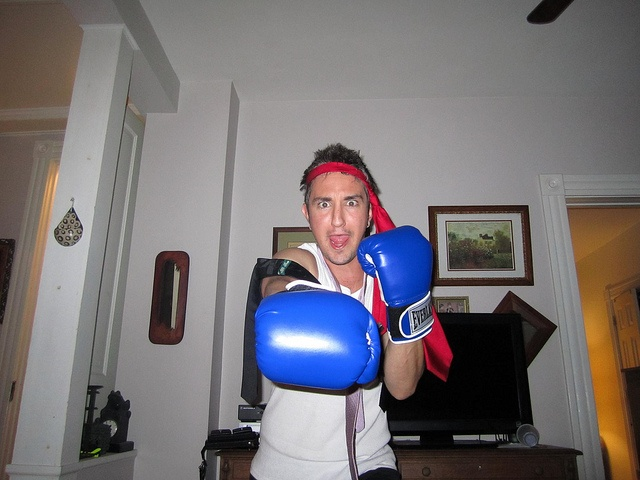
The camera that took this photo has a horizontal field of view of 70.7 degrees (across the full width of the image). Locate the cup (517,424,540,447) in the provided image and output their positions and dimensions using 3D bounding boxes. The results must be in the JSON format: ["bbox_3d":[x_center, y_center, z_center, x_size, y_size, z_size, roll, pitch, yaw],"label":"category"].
[{"bbox_3d":[1.358,1.296,2.987,0.130,0.138,0.092,-3,-9,23],"label":"cup"}]

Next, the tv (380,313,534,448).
[{"bbox_3d":[0.823,0.888,2.743,0.997,0.818,0.239,0,-20,-2],"label":"tv"}]

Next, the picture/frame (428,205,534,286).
[{"bbox_3d":[1.237,0.064,3.481,0.543,0.518,0.044,1,-11,-5],"label":"picture/frame"}]

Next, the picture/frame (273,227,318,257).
[{"bbox_3d":[-0.163,0.009,2.887,0.203,0.224,0.014,0,-23,3],"label":"picture/frame"}]
